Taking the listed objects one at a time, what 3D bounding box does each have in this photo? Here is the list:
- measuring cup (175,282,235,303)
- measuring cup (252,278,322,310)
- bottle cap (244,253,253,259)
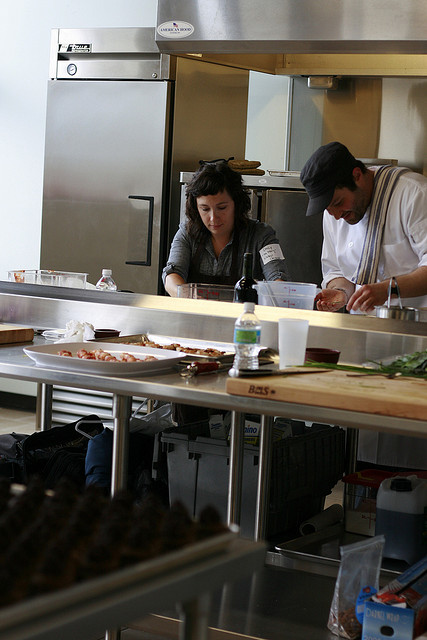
[{"bbox_3d":[-0.024,-0.098,1.903,0.244,0.051,0.089,8,4,40],"label":"measuring cup"},{"bbox_3d":[0.238,-0.097,1.748,0.206,0.086,0.223,2,10,0],"label":"measuring cup"},{"bbox_3d":[0.111,-0.195,1.678,0.033,0.029,0.032,3,6,7],"label":"bottle cap"}]
